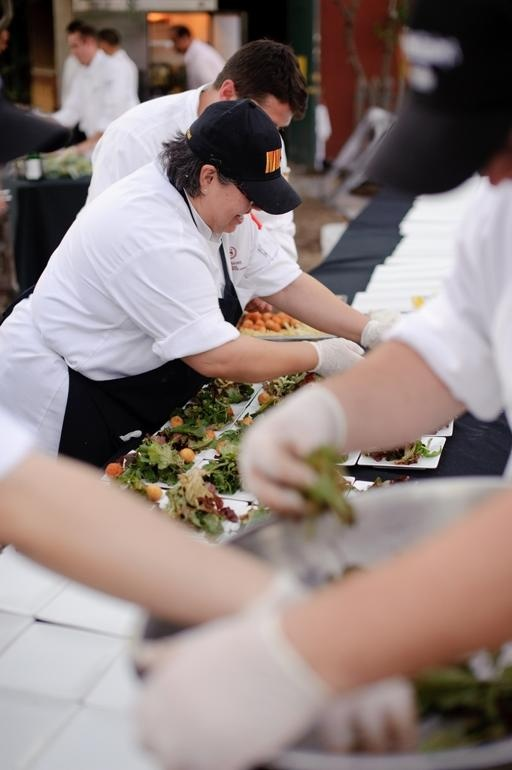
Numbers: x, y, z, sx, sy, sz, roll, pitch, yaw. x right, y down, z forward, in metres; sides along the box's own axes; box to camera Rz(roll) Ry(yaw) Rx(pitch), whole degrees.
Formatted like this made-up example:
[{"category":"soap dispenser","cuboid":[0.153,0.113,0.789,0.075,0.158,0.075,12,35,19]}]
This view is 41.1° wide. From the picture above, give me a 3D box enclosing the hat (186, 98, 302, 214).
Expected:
[{"category":"hat","cuboid":[-0.002,-0.621,1.791,0.357,0.172,0.221,35,36,-3]}]
